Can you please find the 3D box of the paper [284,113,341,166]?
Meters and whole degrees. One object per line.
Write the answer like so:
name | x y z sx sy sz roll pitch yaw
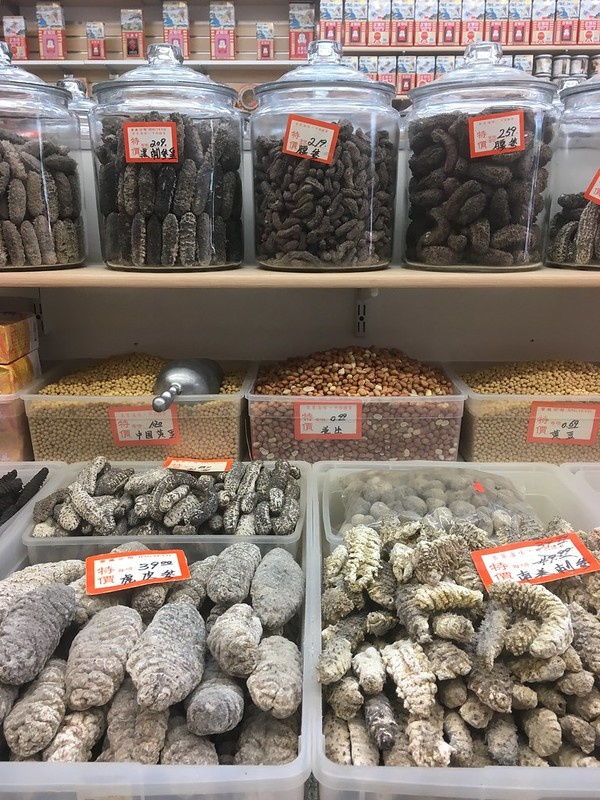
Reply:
paper | 0.021 -0.483 1.044 0.105 0.005 0.141 3 62 6

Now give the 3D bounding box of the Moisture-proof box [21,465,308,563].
Moisture-proof box | -0.263 0.172 1.007 0.336 0.111 0.220 0 21 0

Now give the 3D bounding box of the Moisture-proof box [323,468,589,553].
Moisture-proof box | 0.316 0.188 1.115 0.341 0.112 0.222 -2 15 -2

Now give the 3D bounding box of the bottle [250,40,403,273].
bottle | 0.060 -0.516 1.194 0.293 0.437 0.294 0 15 0

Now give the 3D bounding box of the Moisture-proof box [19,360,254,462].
Moisture-proof box | -0.377 0.026 1.305 0.409 0.136 0.264 -1 15 -5

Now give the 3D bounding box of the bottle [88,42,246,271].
bottle | -0.278 -0.504 1.172 0.299 0.421 0.296 0 17 0

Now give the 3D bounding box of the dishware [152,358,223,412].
dishware | -0.252 -0.032 1.249 0.154 0.082 0.316 -5 21 -8

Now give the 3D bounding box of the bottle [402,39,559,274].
bottle | 0.390 -0.522 1.208 0.311 0.455 0.332 -1 12 0
